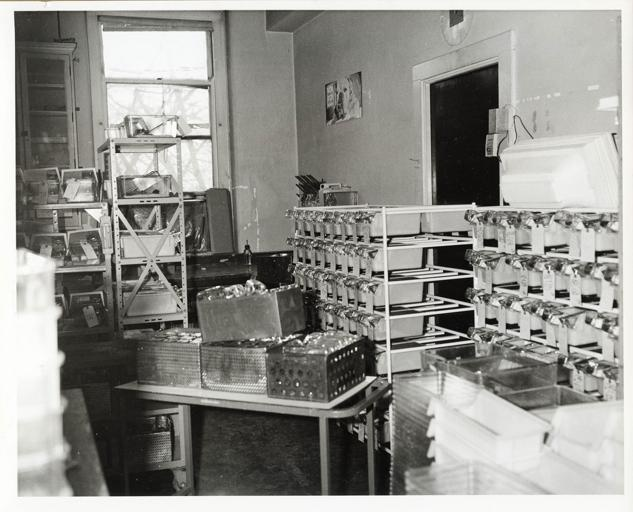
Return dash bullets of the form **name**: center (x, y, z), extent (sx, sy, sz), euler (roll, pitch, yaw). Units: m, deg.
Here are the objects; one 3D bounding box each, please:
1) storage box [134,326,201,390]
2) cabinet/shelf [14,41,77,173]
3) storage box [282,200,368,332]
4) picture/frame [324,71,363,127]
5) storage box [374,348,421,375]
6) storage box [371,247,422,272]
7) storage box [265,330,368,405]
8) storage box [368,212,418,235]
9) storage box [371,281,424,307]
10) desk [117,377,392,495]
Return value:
- **storage box**: center (-0.787, 0.558, 3.133), extent (0.283, 0.301, 0.182), euler (1, 2, 26)
- **cabinet/shelf**: center (-3.040, -1.697, 6.737), extent (0.571, 0.418, 2.023), euler (-4, -33, -24)
- **storage box**: center (0.076, 0.083, 4.165), extent (0.365, 0.961, 1.042), euler (-7, 10, -26)
- **picture/frame**: center (0.294, -1.667, 6.244), extent (0.010, 0.473, 0.718), euler (-4, 8, -23)
- **storage box**: center (0.517, 0.657, 3.655), extent (0.217, 0.110, 0.160), euler (0, -5, -21)
- **storage box**: center (0.519, 0.021, 3.759), extent (0.265, 0.089, 0.168), euler (0, 1, -31)
- **storage box**: center (0.004, 0.560, 3.051), extent (0.394, 0.281, 0.453), euler (0, 4, 24)
- **storage box**: center (0.489, -0.214, 3.705), extent (0.241, 0.081, 0.155), euler (-2, 4, -16)
- **storage box**: center (0.535, 0.228, 3.745), extent (0.260, 0.094, 0.165), euler (-1, 1, -27)
- **desk**: center (-0.348, 1.025, 3.281), extent (1.461, 0.728, 0.713), euler (0, 4, 21)
